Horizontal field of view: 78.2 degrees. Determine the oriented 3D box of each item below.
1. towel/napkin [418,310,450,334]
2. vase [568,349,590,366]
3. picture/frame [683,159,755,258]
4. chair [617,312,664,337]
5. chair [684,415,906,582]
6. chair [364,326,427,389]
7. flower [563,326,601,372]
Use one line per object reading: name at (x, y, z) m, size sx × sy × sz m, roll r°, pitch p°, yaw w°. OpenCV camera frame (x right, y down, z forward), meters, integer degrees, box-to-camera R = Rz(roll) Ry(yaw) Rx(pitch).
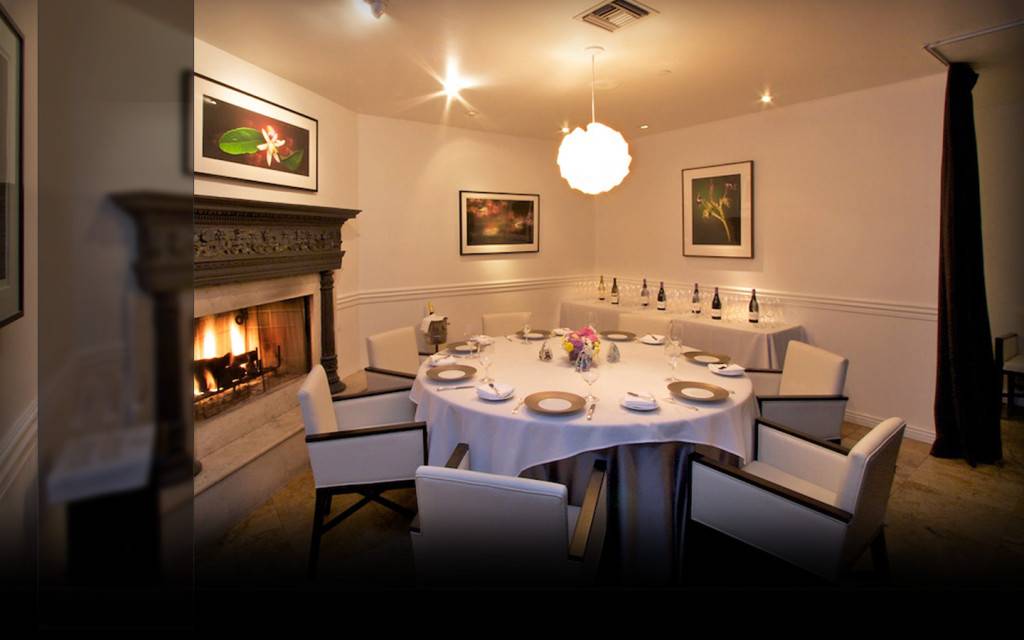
towel/napkin at (-0.671, -0.001, 5.588) m, size 0.191 × 0.093 × 0.203 m, roll 9°, pitch 16°, yaw 42°
vase at (0.381, 0.206, 3.532) m, size 0.090 × 0.078 × 0.103 m, roll -2°, pitch -5°, yaw 43°
picture/frame at (1.800, -0.970, 5.408) m, size 0.078 × 1.158 × 0.841 m, roll -2°, pitch 3°, yaw -37°
chair at (1.020, 0.026, 4.856) m, size 0.229 × 0.157 × 0.229 m, roll 0°, pitch -2°, yaw 25°
chair at (1.272, 0.777, 2.886) m, size 0.829 × 0.732 × 0.501 m, roll 5°, pitch 8°, yaw 34°
chair at (-0.715, 0.218, 4.147) m, size 0.325 × 0.467 × 0.335 m, roll 3°, pitch 8°, yaw 32°
flower at (0.423, 0.163, 3.574) m, size 0.217 × 0.245 × 0.233 m, roll 0°, pitch 0°, yaw -28°
